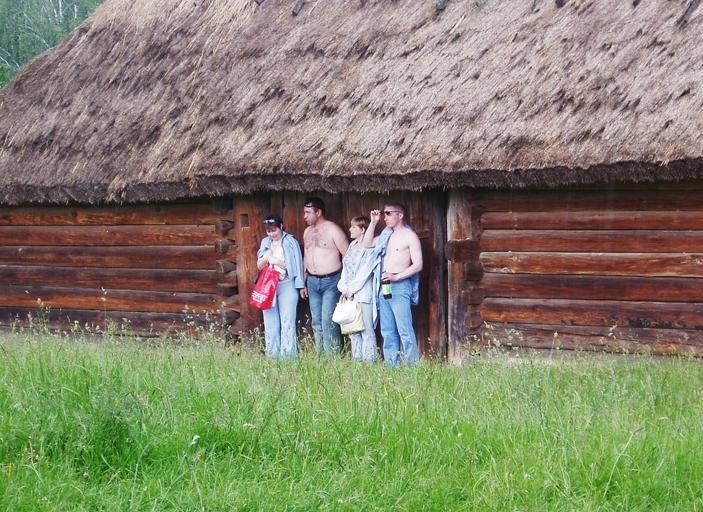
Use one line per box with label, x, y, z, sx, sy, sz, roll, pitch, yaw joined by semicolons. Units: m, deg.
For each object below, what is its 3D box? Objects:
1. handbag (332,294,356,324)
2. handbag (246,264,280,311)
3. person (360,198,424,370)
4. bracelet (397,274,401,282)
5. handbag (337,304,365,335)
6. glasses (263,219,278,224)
handbag;-0.080;0.649;8.394;0.302;0.369;0.166;-7;-21;26
handbag;-1.092;0.352;8.649;0.332;0.721;0.181;14;20;-13
person;0.490;0.337;8.310;0.679;1.881;0.380;2;3;7
bracelet;0.545;0.250;8.135;0.026;0.045;0.060;3;-30;-41
handbag;0.005;0.744;8.322;0.339;0.346;0.174;-7;-5;43
glasses;-0.981;-0.413;8.633;0.151;0.079;0.061;1;3;-11
